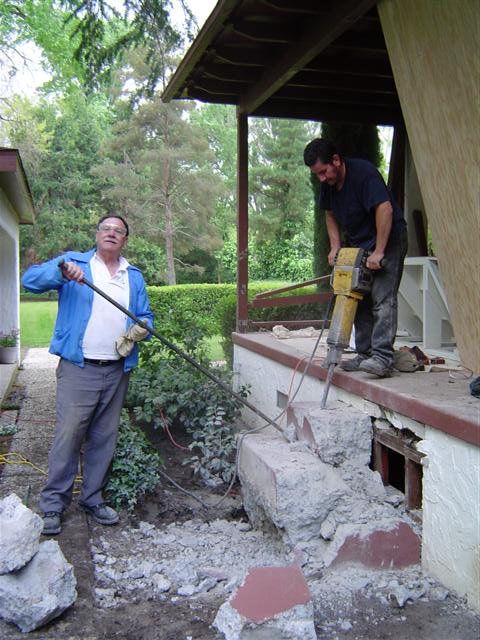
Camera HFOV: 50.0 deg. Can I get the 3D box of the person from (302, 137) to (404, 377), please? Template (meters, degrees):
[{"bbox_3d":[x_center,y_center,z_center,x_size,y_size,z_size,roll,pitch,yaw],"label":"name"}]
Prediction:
[{"bbox_3d":[0.672,-0.354,3.040,0.522,1.391,0.664,5,10,44],"label":"person"}]

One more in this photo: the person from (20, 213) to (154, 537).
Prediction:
[{"bbox_3d":[-0.784,0.286,3.070,0.759,1.667,0.881,0,1,-18],"label":"person"}]

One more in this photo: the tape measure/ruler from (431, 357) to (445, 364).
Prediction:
[{"bbox_3d":[1.303,0.268,3.387,0.048,0.039,0.067,0,-1,-3],"label":"tape measure/ruler"}]
